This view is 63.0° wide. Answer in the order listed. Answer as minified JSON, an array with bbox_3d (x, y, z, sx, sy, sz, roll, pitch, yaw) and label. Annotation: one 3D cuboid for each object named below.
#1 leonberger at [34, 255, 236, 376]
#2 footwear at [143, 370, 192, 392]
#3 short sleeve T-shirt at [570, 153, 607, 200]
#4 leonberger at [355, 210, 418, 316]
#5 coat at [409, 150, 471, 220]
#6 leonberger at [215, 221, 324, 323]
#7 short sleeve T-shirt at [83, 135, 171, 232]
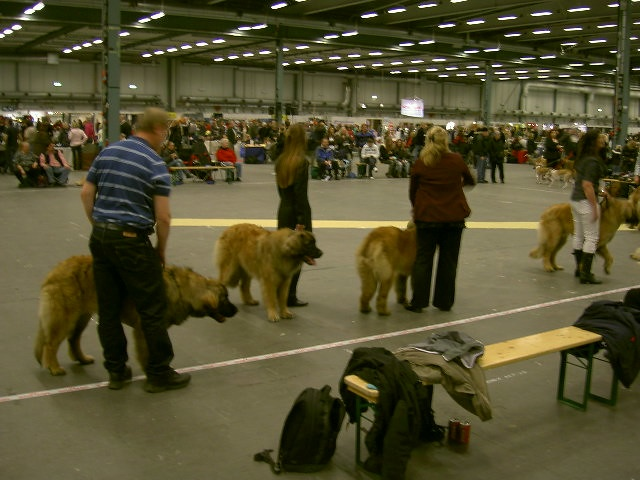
[{"bbox_3d":[-1.789,0.749,5.020,2.166,0.919,0.510,0,3,12],"label":"leonberger"},{"bbox_3d":[-1.383,1.294,4.808,0.375,0.224,0.183,-11,18,-30],"label":"footwear"},{"bbox_3d":[4.064,-0.933,7.963,0.403,0.704,0.494,8,16,22],"label":"short sleeve T-shirt"},{"bbox_3d":[0.889,0.389,6.865,0.500,1.145,0.860,15,20,39],"label":"leonberger"},{"bbox_3d":[1.589,-0.720,6.915,0.911,0.841,0.597,-4,17,-1],"label":"coat"},{"bbox_3d":[-0.704,0.395,6.528,1.396,1.205,0.546,15,20,41],"label":"leonberger"},{"bbox_3d":[-1.674,-0.501,4.549,0.686,0.796,0.437,-3,16,-17],"label":"short sleeve T-shirt"}]
